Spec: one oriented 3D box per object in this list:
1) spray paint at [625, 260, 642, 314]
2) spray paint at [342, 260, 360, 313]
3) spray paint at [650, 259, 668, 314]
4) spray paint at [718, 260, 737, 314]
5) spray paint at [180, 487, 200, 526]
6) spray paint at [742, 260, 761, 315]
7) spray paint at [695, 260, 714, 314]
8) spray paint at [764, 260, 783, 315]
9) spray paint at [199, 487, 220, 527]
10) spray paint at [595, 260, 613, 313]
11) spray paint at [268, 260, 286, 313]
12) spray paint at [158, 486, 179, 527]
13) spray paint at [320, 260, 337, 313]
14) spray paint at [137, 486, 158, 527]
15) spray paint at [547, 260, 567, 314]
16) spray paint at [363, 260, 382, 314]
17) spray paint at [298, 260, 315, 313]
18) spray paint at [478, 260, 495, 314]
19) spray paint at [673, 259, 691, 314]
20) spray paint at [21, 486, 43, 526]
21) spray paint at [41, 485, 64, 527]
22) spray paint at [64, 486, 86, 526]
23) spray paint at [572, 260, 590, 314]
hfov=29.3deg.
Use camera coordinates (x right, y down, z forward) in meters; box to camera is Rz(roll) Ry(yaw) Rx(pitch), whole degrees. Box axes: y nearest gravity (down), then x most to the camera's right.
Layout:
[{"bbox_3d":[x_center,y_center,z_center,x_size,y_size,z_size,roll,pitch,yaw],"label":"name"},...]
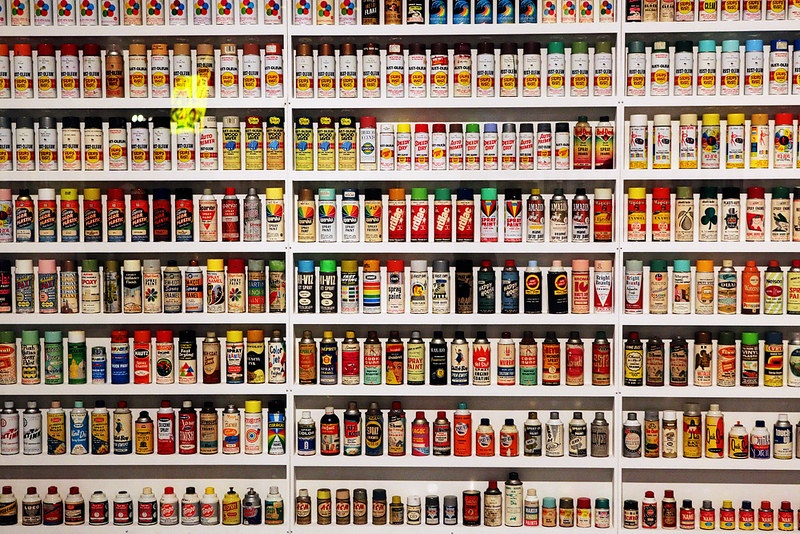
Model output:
[{"bbox_3d":[0.917,0.088,5.970,0.073,0.193,0.088,2,24,6],"label":"spray paint"},{"bbox_3d":[-0.191,0.087,5.993,0.072,0.203,0.089,-1,24,-2],"label":"spray paint"},{"bbox_3d":[1.019,0.088,5.975,0.082,0.199,0.093,4,24,9],"label":"spray paint"},{"bbox_3d":[1.294,0.086,6.001,0.082,0.194,0.187,5,24,12],"label":"spray paint"},{"bbox_3d":[-0.823,0.962,6.034,0.079,0.132,0.081,-4,24,-8],"label":"spray paint"},{"bbox_3d":[1.384,0.085,5.993,0.083,0.191,0.156,6,24,12],"label":"spray paint"},{"bbox_3d":[1.197,0.088,5.966,0.077,0.202,0.112,2,24,6],"label":"spray paint"},{"bbox_3d":[1.470,0.100,5.977,0.077,0.172,0.120,3,24,7],"label":"spray paint"},{"bbox_3d":[-0.746,0.961,6.019,0.074,0.139,0.062,-3,24,-8],"label":"spray paint"},{"bbox_3d":[0.803,0.085,5.976,0.077,0.194,0.079,3,24,7],"label":"spray paint"},{"bbox_3d":[-0.472,0.085,6.000,0.070,0.194,0.092,-2,24,-4],"label":"spray paint"},{"bbox_3d":[-0.906,0.960,6.043,0.081,0.135,0.088,-3,24,-7],"label":"spray paint"},{"bbox_3d":[-0.273,0.086,5.993,0.072,0.201,0.090,-1,24,-2],"label":"spray paint"},{"bbox_3d":[-0.994,0.956,6.059,0.083,0.131,0.119,-4,24,-9],"label":"spray paint"},{"bbox_3d":[0.632,0.075,6.028,0.088,0.202,0.164,2,24,5],"label":"spray paint"},{"bbox_3d":[-0.105,0.086,6.010,0.072,0.196,0.118,-1,24,-1],"label":"spray paint"},{"bbox_3d":[-0.359,0.087,5.988,0.074,0.197,0.081,-2,24,-4],"label":"spray paint"},{"bbox_3d":[0.344,0.089,5.996,0.063,0.193,0.104,1,24,2],"label":"spray paint"},{"bbox_3d":[1.114,0.074,5.996,0.080,0.204,0.149,4,24,10],"label":"spray paint"},{"bbox_3d":[-1.446,0.975,6.034,0.091,0.110,0.087,-5,24,-12],"label":"spray paint"},{"bbox_3d":[-1.363,0.961,6.029,0.084,0.144,0.075,-7,25,-15],"label":"spray paint"},{"bbox_3d":[-1.282,0.962,6.035,0.081,0.143,0.079,-6,25,-13],"label":"spray paint"},{"bbox_3d":[0.717,0.081,6.008,0.078,0.200,0.138,2,24,5],"label":"spray paint"}]
